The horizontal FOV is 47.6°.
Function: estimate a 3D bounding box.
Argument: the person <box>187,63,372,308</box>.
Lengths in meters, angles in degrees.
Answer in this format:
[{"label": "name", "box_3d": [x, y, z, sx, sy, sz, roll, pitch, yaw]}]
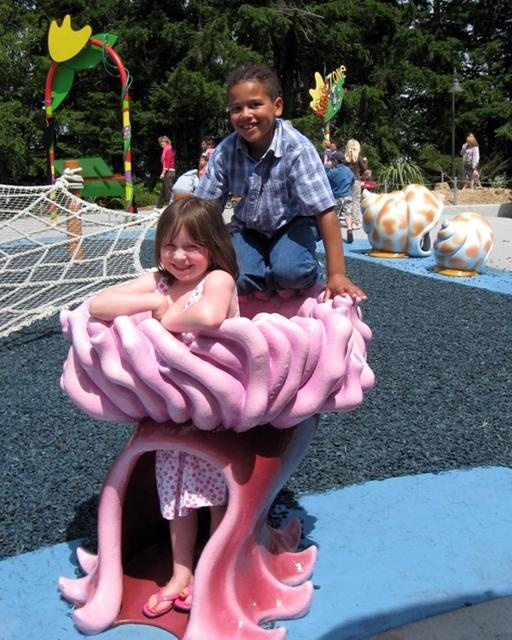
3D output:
[{"label": "person", "box_3d": [0.084, -0.495, 2.121, 0.360, 0.830, 0.735, -15, 20, -41]}]

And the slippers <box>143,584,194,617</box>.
[{"label": "slippers", "box_3d": [-0.211, 0.687, 1.436, 0.064, 0.023, 0.104, 6, 3, 41]}]

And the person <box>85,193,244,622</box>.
[{"label": "person", "box_3d": [-0.211, 0.202, 1.472, 0.348, 1.004, 0.497, -2, 15, -1]}]

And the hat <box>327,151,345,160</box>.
[{"label": "hat", "box_3d": [1.286, -2.714, 9.505, 0.199, 0.122, 0.250, 0, 25, -29]}]
